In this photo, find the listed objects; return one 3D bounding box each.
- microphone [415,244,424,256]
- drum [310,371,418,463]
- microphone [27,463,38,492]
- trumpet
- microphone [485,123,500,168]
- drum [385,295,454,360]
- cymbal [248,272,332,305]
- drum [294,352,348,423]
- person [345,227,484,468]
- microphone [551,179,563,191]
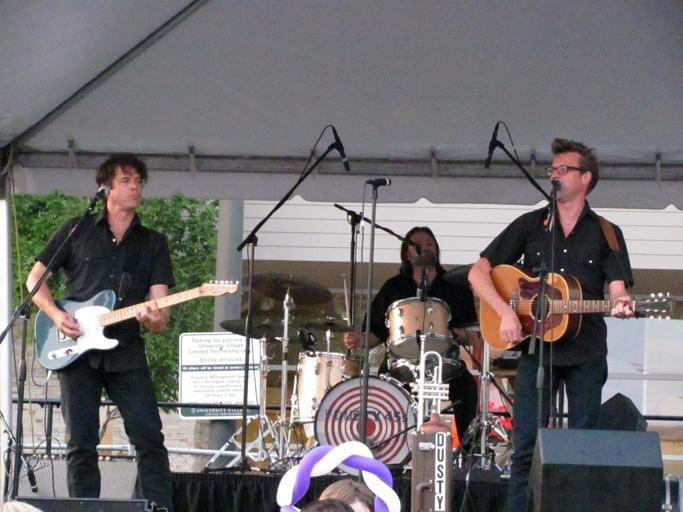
[{"bbox_3d":[0.688,-0.052,17.096,0.076,0.092,0.082,-3,26,5],"label":"microphone"},{"bbox_3d":[0.199,1.364,16.997,0.885,0.768,0.801,1,3,0],"label":"drum"},{"bbox_3d":[-2.579,1.852,16.243,0.072,0.280,0.078,-14,5,-6],"label":"microphone"},{"bbox_3d":[0.675,0.978,14.906,0.315,0.722,0.302,1,5,1],"label":"trumpet"},{"bbox_3d":[1.317,-0.986,17.009,0.047,0.386,0.121,15,18,7],"label":"microphone"},{"bbox_3d":[0.679,0.627,16.682,0.532,0.341,0.537,-2,-31,-1],"label":"drum"},{"bbox_3d":[-0.460,0.281,18.143,0.593,0.317,0.594,4,3,27],"label":"cymbal"},{"bbox_3d":[-0.179,1.137,17.033,0.469,0.592,0.430,0,4,0],"label":"drum"},{"bbox_3d":[0.743,0.734,17.528,1.127,1.925,0.883,2,4,-2],"label":"person"},{"bbox_3d":[1.717,-0.564,15.486,0.030,0.091,0.067,8,9,26],"label":"microphone"}]
